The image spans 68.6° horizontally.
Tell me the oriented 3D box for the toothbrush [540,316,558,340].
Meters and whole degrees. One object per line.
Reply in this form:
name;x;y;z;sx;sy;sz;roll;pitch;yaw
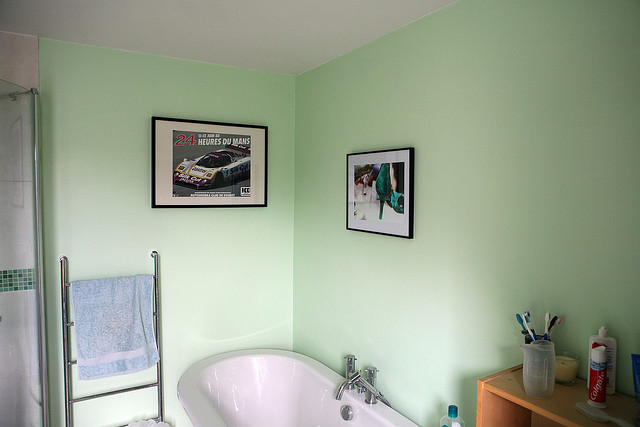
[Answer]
toothbrush;1.134;0.569;2.314;0.013;0.161;0.028;43;-18;7

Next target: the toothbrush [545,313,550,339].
toothbrush;1.114;0.548;2.298;0.016;0.123;0.105;1;0;25

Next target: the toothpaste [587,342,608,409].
toothpaste;1.228;0.716;2.083;0.085;0.259;0.136;1;0;24

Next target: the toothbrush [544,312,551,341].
toothbrush;1.118;0.552;2.301;0.026;0.129;0.121;1;0;27

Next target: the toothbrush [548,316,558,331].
toothbrush;1.146;0.541;2.302;0.034;0.069;0.076;1;0;32

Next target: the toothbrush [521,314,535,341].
toothbrush;1.015;0.555;2.297;0.041;0.135;0.031;-27;-27;36

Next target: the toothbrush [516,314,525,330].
toothbrush;1.030;0.566;2.415;0.024;0.103;0.019;-12;-10;24
